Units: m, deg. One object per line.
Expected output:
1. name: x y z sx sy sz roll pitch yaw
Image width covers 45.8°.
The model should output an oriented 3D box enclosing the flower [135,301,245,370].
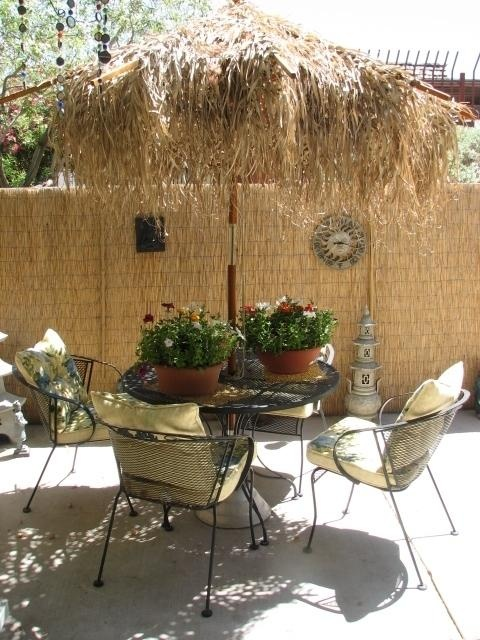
1. flower: -0.164 0.080 2.534 0.350 0.213 0.425 6 6 43
